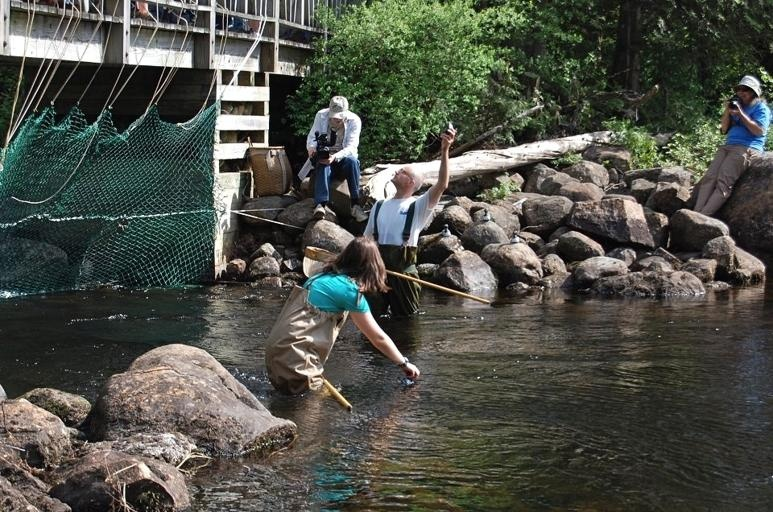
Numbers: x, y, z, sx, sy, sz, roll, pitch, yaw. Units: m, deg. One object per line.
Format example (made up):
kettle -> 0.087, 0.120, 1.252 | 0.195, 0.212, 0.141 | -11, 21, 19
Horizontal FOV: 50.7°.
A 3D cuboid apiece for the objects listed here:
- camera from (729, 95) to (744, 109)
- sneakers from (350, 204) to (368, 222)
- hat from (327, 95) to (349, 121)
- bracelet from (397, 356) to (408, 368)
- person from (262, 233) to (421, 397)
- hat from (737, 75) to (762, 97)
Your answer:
camera -> 6.035, -2.636, 14.148 | 0.194, 0.201, 0.331 | 7, 16, 21
sneakers -> -0.499, -0.742, 14.058 | 0.190, 0.152, 0.369 | -32, 20, -17
hat -> -0.811, -2.467, 13.558 | 0.288, 0.215, 0.411 | 5, 35, -1
bracelet -> 0.166, 1.104, 8.521 | 0.083, 0.053, 0.110 | -3, 18, 24
person -> -0.465, 0.729, 9.252 | 1.221, 1.606, 1.043 | -1, 39, -36
hat -> 6.363, -2.972, 14.310 | 0.367, 0.363, 0.751 | 7, 16, 21
